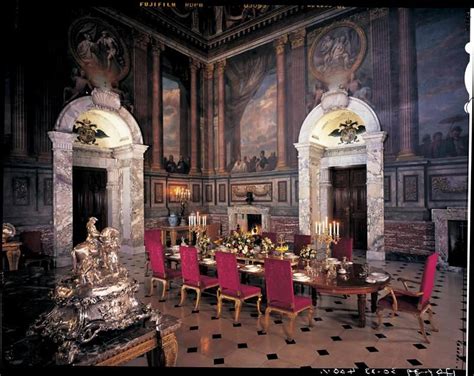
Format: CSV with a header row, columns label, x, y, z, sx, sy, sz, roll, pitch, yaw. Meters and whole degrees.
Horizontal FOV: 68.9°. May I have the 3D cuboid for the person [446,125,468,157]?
label,x,y,z,sx,sy,sz,roll,pitch,yaw
person,5.489,-1.189,8.653,0.417,0.774,0.202,5,9,40

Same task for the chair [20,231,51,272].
label,x,y,z,sx,sy,sz,roll,pitch,yaw
chair,-4.558,1.460,7.840,0.557,0.911,0.563,-4,5,-31

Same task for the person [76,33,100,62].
label,x,y,z,sx,sy,sz,roll,pitch,yaw
person,-4.191,-3.936,9.722,0.146,0.835,0.644,4,8,32

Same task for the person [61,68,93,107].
label,x,y,z,sx,sy,sz,roll,pitch,yaw
person,-4.349,-2.762,9.393,0.217,1.044,0.870,2,7,22

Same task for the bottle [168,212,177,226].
label,x,y,z,sx,sy,sz,roll,pitch,yaw
bottle,-2.062,1.037,11.353,0.337,0.536,0.347,-1,1,0

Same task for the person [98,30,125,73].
label,x,y,z,sx,sy,sz,roll,pitch,yaw
person,-3.745,-4.104,10.316,0.201,1.146,0.780,3,7,27
